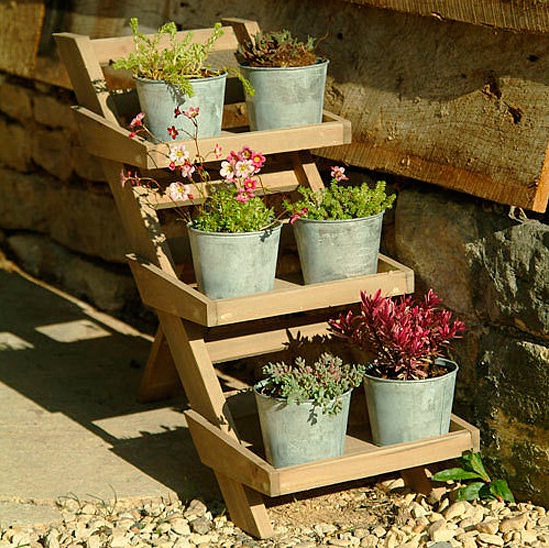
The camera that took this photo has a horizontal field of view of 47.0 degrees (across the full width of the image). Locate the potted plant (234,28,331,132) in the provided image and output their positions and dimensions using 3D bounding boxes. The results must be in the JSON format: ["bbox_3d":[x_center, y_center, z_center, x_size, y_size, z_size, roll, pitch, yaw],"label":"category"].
[{"bbox_3d":[0.028,-0.593,1.925,0.317,0.280,0.253,2,33,4],"label":"potted plant"}]

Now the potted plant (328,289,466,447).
[{"bbox_3d":[0.369,0.263,1.732,0.249,0.303,0.318,6,65,-20],"label":"potted plant"}]

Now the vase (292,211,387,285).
[{"bbox_3d":[0.195,-0.067,1.808,0.287,0.165,0.230,1,7,17],"label":"vase"}]

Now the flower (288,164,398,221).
[{"bbox_3d":[0.216,-0.220,1.800,0.300,0.114,0.238,-28,38,-33],"label":"flower"}]

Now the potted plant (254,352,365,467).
[{"bbox_3d":[0.081,0.375,1.694,0.310,0.229,0.287,-2,-3,16],"label":"potted plant"}]

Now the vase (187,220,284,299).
[{"bbox_3d":[-0.122,-0.037,1.731,0.297,0.155,0.246,-8,11,-33],"label":"vase"}]

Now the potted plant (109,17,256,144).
[{"bbox_3d":[-0.264,-0.540,1.822,0.374,0.254,0.274,-12,28,-21],"label":"potted plant"}]
